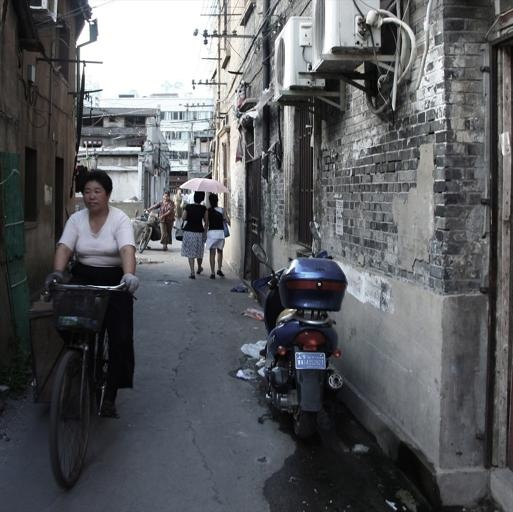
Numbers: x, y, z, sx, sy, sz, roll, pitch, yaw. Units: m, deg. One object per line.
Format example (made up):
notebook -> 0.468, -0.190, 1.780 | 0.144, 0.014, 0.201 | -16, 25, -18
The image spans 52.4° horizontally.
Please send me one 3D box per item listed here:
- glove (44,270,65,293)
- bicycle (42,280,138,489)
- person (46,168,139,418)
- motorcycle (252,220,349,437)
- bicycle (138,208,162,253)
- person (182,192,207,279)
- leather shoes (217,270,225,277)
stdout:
glove -> -1.303, 0.155, 3.332 | 0.087, 0.074, 0.151 | -4, -12, -9
bicycle -> -1.137, 0.766, 3.638 | 0.481, 1.213, 1.613 | 2, 2, -3
person -> -1.181, 0.277, 3.836 | 0.658, 1.810, 0.893 | -7, 15, -35
motorcycle -> 0.308, 0.665, 4.050 | 0.629, 1.437, 1.202 | 1, 4, 1
bicycle -> -3.954, -0.943, 19.179 | 0.850, 1.472, 2.938 | 0, 5, -13
person -> -1.455, -0.582, 12.306 | 0.491, 2.156, 0.525 | -2, 21, -18
leather shoes -> -0.870, 0.421, 12.705 | 0.204, 0.215, 0.095 | 8, 6, 4
